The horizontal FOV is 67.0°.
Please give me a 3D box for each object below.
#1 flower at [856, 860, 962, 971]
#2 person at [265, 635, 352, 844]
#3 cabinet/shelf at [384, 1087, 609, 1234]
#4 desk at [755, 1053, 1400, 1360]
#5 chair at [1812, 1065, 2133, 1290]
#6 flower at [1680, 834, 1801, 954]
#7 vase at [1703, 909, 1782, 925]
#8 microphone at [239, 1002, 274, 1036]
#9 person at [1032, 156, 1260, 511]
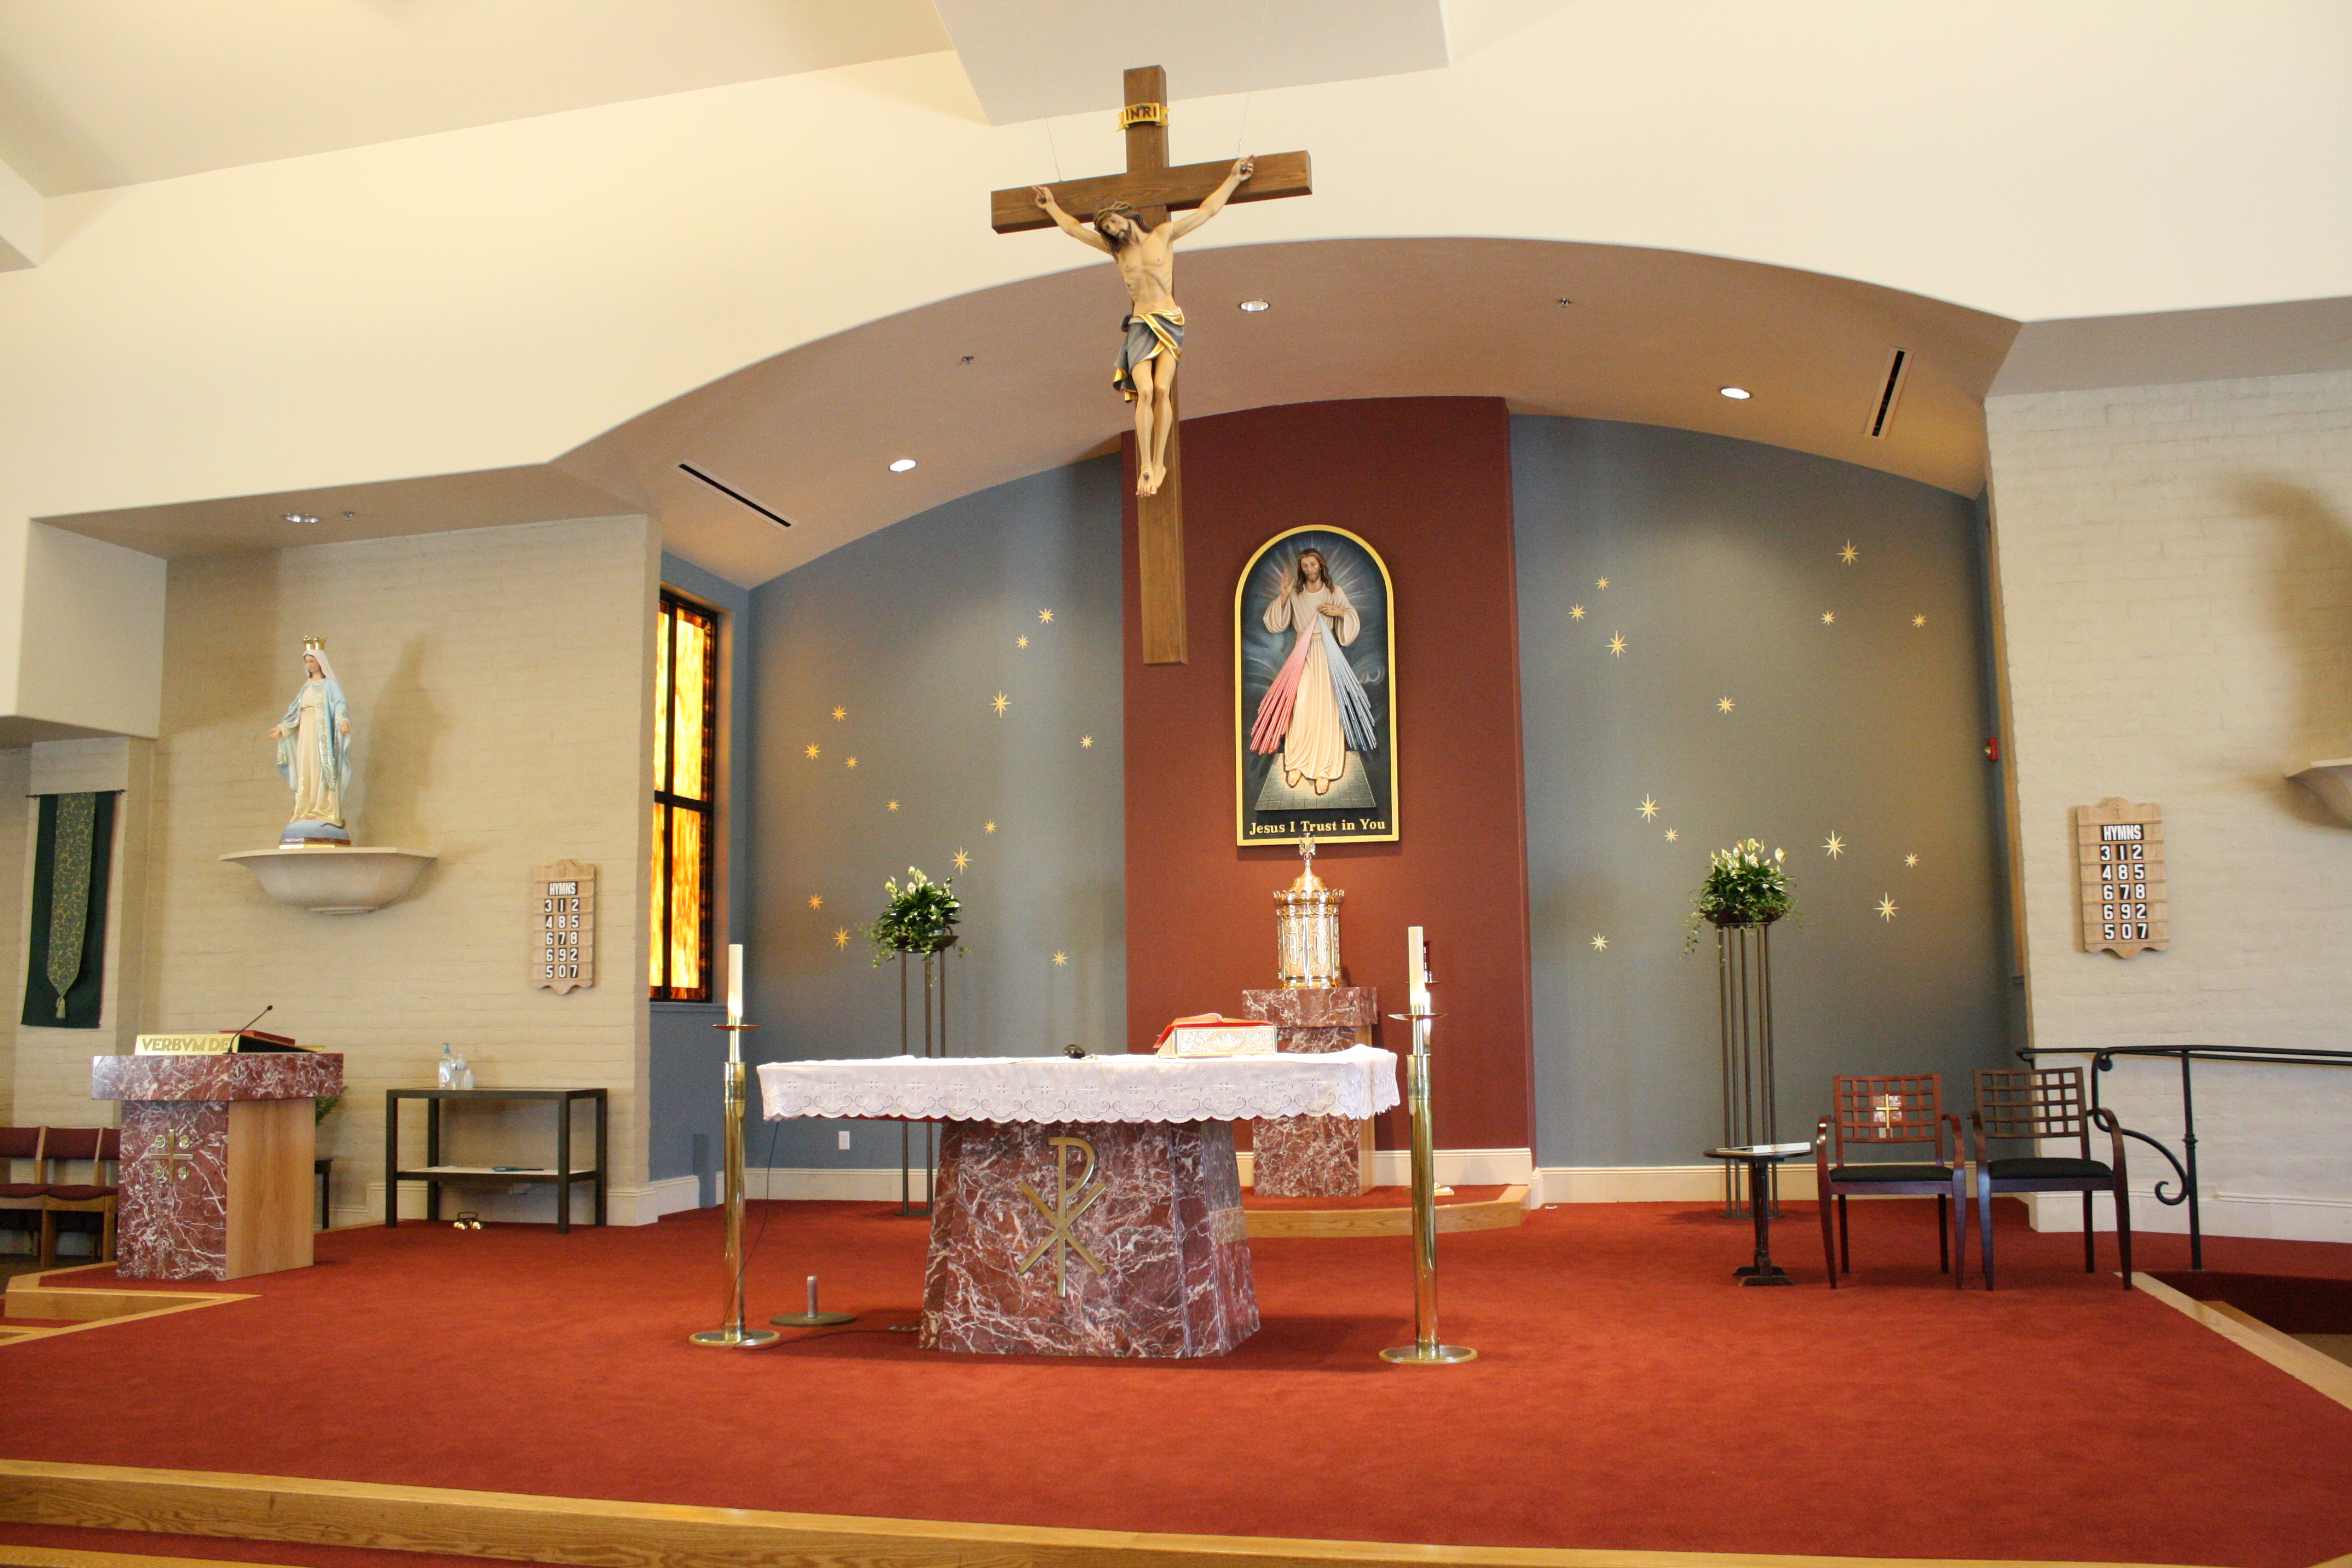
[{"bbox_3d":[-1.660,0.845,11.289,0.650,0.638,0.578,2,-9,-3],"label":"flower"},{"bbox_3d":[-5.290,-0.269,10.912,0.394,1.284,0.597,-1,-2,-23],"label":"person"},{"bbox_3d":[-4.121,2.281,10.694,1.140,0.693,0.562,3,-10,-8],"label":"cabinet/shelf"},{"bbox_3d":[-0.303,1.558,6.613,2.083,1.130,0.615,-2,-1,16],"label":"desk"},{"bbox_3d":[3.717,1.859,8.247,1.102,0.726,0.491,-3,-15,14],"label":"chair"},{"bbox_3d":[3.353,0.648,10.493,0.644,0.582,0.587,1,-5,2],"label":"flower"},{"bbox_3d":[3.261,0.779,10.306,0.365,0.095,0.276,-1,-2,-6],"label":"vase"},{"bbox_3d":[-5.689,1.435,10.952,0.166,0.142,0.287,-1,-2,-4],"label":"microphone"},{"bbox_3d":[-0.099,-1.874,7.415,0.890,1.395,0.426,-2,-2,34],"label":"person"}]
